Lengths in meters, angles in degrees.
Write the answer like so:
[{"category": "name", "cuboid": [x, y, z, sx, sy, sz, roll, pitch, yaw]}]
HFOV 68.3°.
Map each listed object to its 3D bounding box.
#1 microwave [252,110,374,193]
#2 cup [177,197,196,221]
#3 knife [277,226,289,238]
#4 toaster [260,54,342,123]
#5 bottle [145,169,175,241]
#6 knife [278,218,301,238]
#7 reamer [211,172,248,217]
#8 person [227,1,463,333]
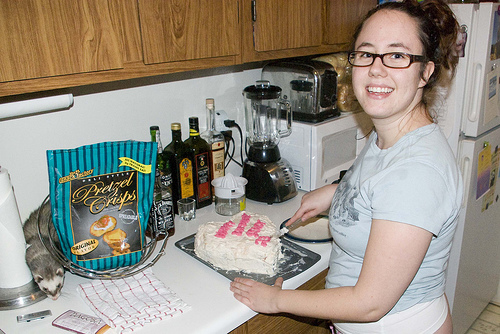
[{"category": "microwave", "cuboid": [0.411, -0.123, 2.210, 0.564, 0.367, 0.417, -17, 22, -37]}, {"category": "cup", "cuboid": [-0.304, 0.194, 1.725, 0.071, 0.096, 0.068, -1, 26, 0]}, {"category": "knife", "cuboid": [0.133, 0.272, 1.578, 0.037, 0.013, 0.020, -44, 15, 9]}, {"category": "toaster", "cuboid": [0.281, -0.451, 2.130, 0.383, 0.317, 0.424, 17, 24, 40]}, {"category": "bottle", "cuboid": [-0.382, 0.164, 1.588, 0.124, 0.297, 0.117, 3, 20, -1]}, {"category": "knife", "cuboid": [0.172, 0.269, 1.630, 0.123, 0.017, 0.011, -40, 26, -20]}, {"category": "reamer", "cuboid": [-0.095, 0.126, 1.769, 0.176, 0.207, 0.126, -11, 21, -11]}, {"category": "person", "cuboid": [0.371, 0.067, 1.223, 0.782, 1.118, 0.517, -21, 24, -34]}]
